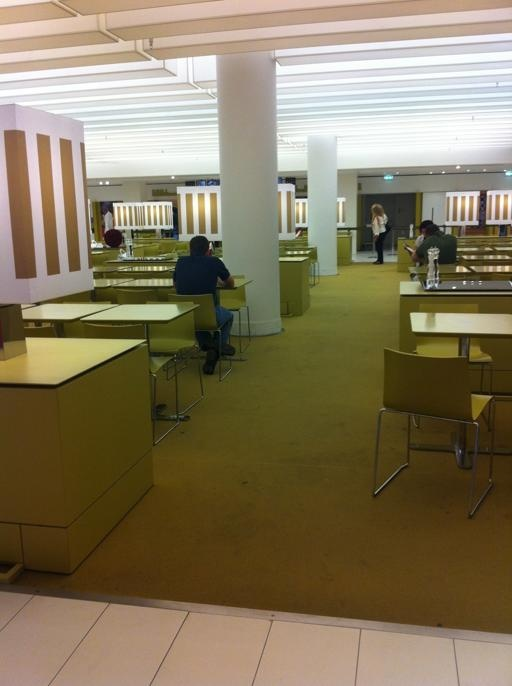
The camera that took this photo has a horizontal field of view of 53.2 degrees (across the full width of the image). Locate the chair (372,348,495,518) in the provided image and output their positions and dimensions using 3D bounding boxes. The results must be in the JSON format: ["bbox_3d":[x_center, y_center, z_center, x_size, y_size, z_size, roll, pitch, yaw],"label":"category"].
[{"bbox_3d":[1.035,0.549,2.959,0.554,0.864,0.547,6,23,28],"label":"chair"}]
